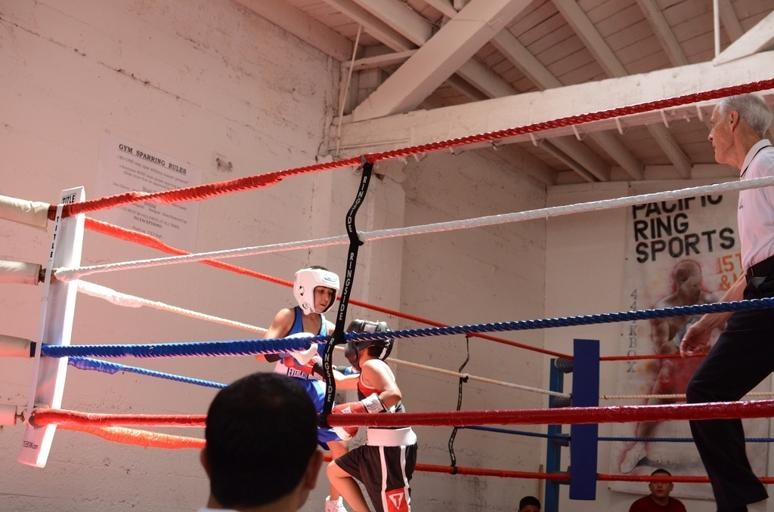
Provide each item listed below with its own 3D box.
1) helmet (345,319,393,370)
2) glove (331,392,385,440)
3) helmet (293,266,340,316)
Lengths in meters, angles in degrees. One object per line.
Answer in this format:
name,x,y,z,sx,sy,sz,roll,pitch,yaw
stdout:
helmet,-0.082,0.451,3.474,0.298,0.242,0.222,0,-9,1
glove,-0.100,0.736,3.097,0.342,0.131,0.232,-4,-7,1
helmet,-0.334,0.165,3.610,0.263,0.236,0.301,2,1,-19
